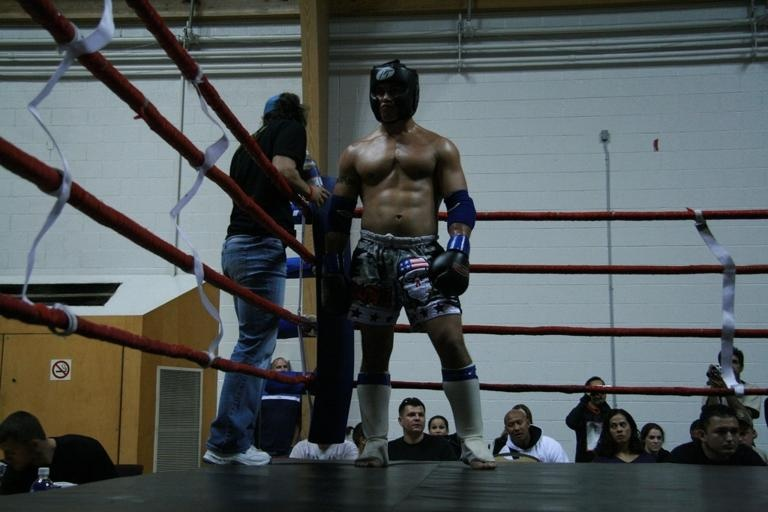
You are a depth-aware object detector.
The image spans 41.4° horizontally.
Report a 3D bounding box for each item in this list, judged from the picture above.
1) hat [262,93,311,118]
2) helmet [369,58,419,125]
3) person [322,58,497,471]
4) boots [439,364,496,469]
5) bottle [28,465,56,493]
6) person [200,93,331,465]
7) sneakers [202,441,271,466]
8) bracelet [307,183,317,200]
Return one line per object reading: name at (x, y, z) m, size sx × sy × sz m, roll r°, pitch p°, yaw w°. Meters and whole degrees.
hat at (-0.701, -1.083, 7.185) m, size 0.271 × 0.130 × 0.173 m, roll 0°, pitch -8°, yaw -4°
helmet at (0.091, -1.115, 6.813) m, size 0.297 × 0.345 × 0.371 m, roll -5°, pitch 9°, yaw 26°
person at (0.146, 0.043, 6.593) m, size 1.059 × 2.659 × 0.534 m, roll 0°, pitch 4°, yaw -2°
boots at (0.543, 1.031, 6.569) m, size 0.375 × 0.647 × 0.241 m, roll 1°, pitch 4°, yaw 14°
bottle at (-2.248, 1.492, 6.706) m, size 0.138 × 0.144 × 0.343 m, roll -1°, pitch 5°, yaw -20°
person at (-0.867, 0.155, 6.883) m, size 0.613 × 2.570 × 0.898 m, roll 3°, pitch 5°, yaw 36°
sneakers at (-0.968, 1.326, 6.726) m, size 0.449 × 0.195 × 0.155 m, roll 2°, pitch -13°, yaw -8°
bracelet at (-0.486, -0.439, 6.859) m, size 0.032 × 0.078 × 0.067 m, roll -11°, pitch 30°, yaw -9°
